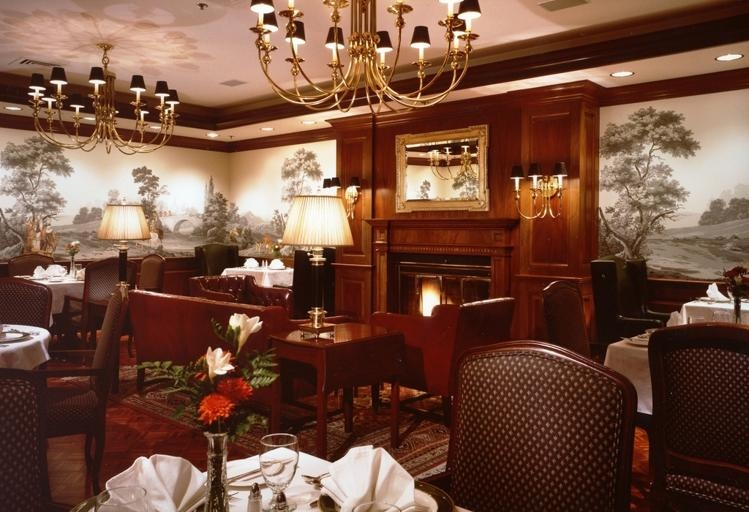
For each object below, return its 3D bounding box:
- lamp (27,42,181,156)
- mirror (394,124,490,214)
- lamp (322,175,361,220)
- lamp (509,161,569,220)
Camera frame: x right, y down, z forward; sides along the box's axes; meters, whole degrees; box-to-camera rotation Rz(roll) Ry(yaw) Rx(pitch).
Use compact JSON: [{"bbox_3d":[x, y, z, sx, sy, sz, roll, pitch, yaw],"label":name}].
[{"bbox_3d":[-3.748,-2.158,6.962,1.411,0.972,1.402,2,4,20],"label":"lamp"},{"bbox_3d":[1.003,-1.210,7.123,1.364,0.974,0.062,-1,0,40],"label":"mirror"},{"bbox_3d":[-0.344,-0.882,8.026,0.713,0.538,0.350,1,-11,-28],"label":"lamp"},{"bbox_3d":[2.041,-0.789,6.309,0.713,0.636,0.397,2,2,39],"label":"lamp"}]
